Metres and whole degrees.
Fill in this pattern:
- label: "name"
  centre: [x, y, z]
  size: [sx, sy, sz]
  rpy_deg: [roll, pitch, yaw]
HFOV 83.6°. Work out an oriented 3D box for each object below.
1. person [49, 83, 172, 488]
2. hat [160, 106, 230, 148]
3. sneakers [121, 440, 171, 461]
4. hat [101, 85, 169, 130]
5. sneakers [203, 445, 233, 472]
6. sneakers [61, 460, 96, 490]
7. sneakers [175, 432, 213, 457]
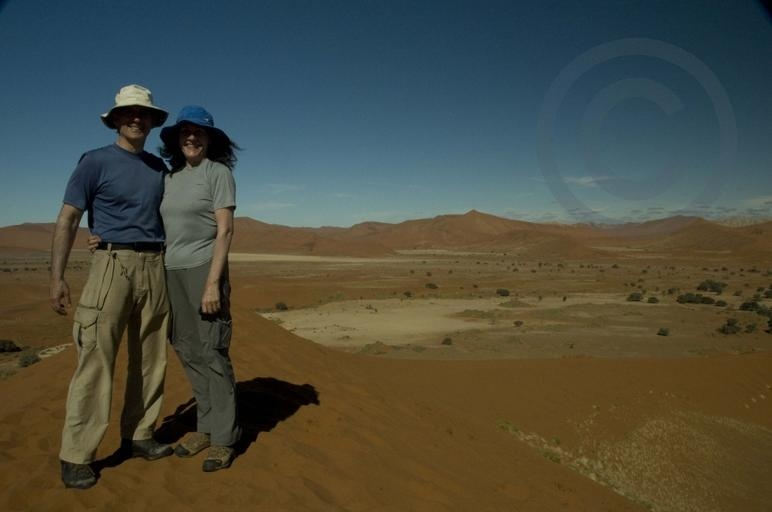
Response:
- label: "person"
  centre: [-2.706, 0.243, 4.469]
  size: [1.076, 3.982, 1.039]
  rpy_deg: [4, 10, -39]
- label: "hat"
  centre: [-2.043, -1.510, 4.691]
  size: [0.539, 0.231, 0.475]
  rpy_deg: [6, 10, 15]
- label: "sneakers"
  centre: [-2.539, 2.097, 4.765]
  size: [0.535, 0.224, 0.211]
  rpy_deg: [3, 10, -9]
- label: "hat"
  centre: [-2.588, -1.648, 4.552]
  size: [0.541, 0.259, 0.557]
  rpy_deg: [21, 23, 38]
- label: "sneakers"
  centre: [-1.746, 2.184, 4.661]
  size: [0.301, 0.225, 0.204]
  rpy_deg: [7, 7, -14]
- label: "sneakers"
  centre: [-2.944, 2.150, 4.234]
  size: [0.332, 0.224, 0.128]
  rpy_deg: [7, 8, -11]
- label: "sneakers"
  centre: [-2.105, 2.137, 4.929]
  size: [0.210, 0.150, 0.415]
  rpy_deg: [21, 3, 24]
